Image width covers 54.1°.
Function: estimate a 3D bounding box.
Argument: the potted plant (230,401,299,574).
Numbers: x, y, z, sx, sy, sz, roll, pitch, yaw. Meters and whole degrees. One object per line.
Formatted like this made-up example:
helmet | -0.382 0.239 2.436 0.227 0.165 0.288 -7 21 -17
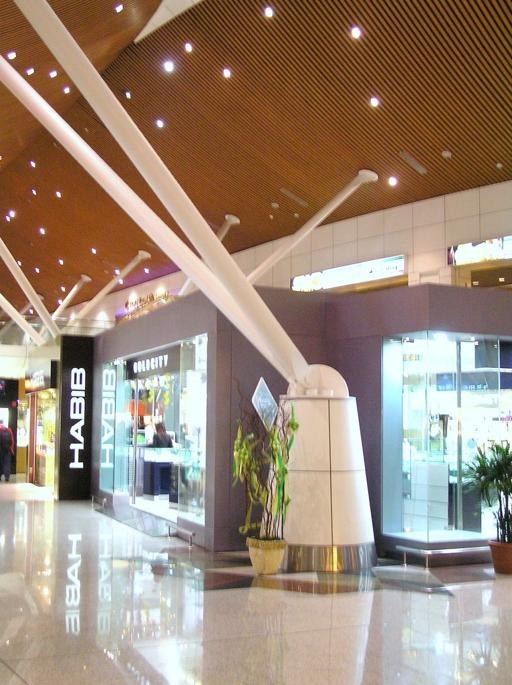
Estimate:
potted plant | 0.066 1.623 5.489 0.533 1.920 0.493 2 8 6
